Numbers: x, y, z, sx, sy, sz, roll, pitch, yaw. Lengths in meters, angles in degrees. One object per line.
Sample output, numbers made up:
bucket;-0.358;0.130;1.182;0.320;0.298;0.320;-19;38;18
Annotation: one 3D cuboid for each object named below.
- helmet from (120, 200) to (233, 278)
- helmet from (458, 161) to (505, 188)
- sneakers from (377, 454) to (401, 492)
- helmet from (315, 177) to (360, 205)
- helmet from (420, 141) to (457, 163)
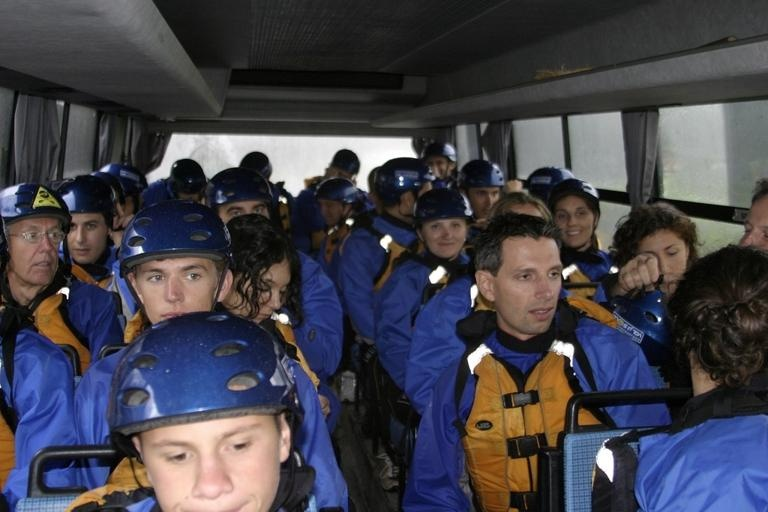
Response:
helmet;-1.295;-0.121;4.103;0.452;0.413;0.576;1;8;-2
helmet;1.428;-1.154;9.504;0.426;0.459;0.524;-6;-4;-41
sneakers;0.024;2.211;6.889;0.152;0.076;0.433;-8;19;-8
helmet;-0.727;-1.034;10.544;0.611;0.293;0.429;-3;9;-21
helmet;0.948;-1.810;11.592;0.355;0.338;0.487;3;9;41
